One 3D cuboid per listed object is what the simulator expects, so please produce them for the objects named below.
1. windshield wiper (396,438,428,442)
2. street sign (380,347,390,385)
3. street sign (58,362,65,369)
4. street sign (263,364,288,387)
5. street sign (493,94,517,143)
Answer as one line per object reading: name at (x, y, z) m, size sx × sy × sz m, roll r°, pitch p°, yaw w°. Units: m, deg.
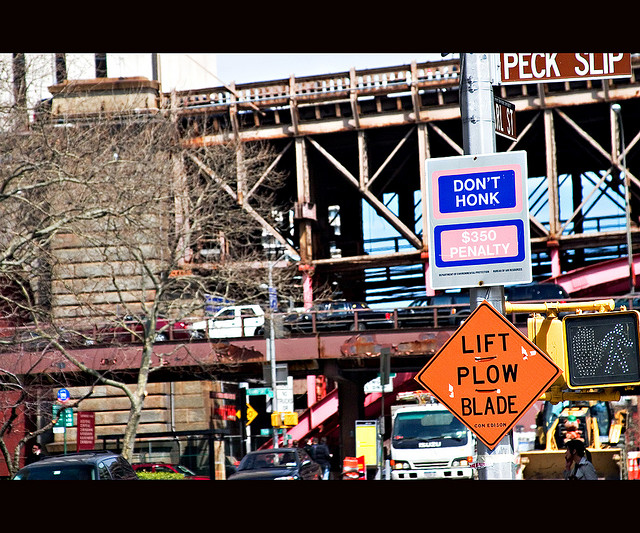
windshield wiper at (2.664, 5.066, 58.493) m, size 0.678 × 0.071 × 0.035 m, roll -2°, pitch -17°, yaw 27°
street sign at (1.907, 2.879, 57.849) m, size 0.269 × 1.075 × 0.842 m, roll -3°, pitch -9°, yaw 2°
street sign at (-8.305, 3.264, 65.553) m, size 0.248 × 0.232 × 0.058 m, roll -2°, pitch 3°, yaw 3°
street sign at (-1.456, 3.647, 67.628) m, size 1.060 × 0.922 × 0.605 m, roll -1°, pitch -1°, yaw 16°
street sign at (4.152, -3.316, 45.506) m, size 0.048 × 0.868 × 1.274 m, roll -10°, pitch 18°, yaw -20°
